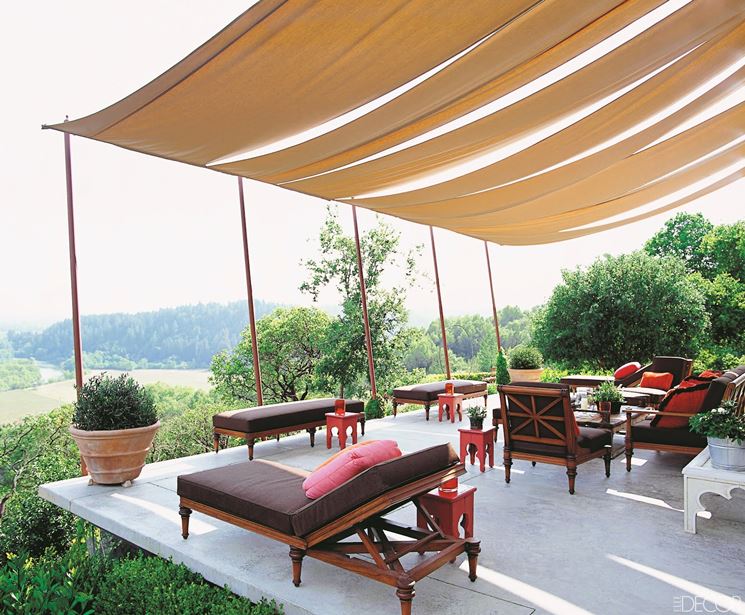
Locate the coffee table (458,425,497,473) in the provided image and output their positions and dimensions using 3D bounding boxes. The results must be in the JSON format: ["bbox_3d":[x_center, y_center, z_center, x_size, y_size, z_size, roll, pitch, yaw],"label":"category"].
[{"bbox_3d":[1.211,1.664,6.007,0.426,0.392,0.442,2,-11,-6],"label":"coffee table"}]

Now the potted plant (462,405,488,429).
[{"bbox_3d":[1.187,1.286,5.960,0.234,0.239,0.241,-1,-1,-2],"label":"potted plant"}]

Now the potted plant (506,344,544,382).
[{"bbox_3d":[3.706,1.387,12.492,1.077,1.072,1.040,-1,-4,-1],"label":"potted plant"}]

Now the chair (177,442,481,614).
[{"bbox_3d":[-0.441,1.356,3.886,2.253,0.948,0.940,4,0,38],"label":"chair"}]

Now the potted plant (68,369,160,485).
[{"bbox_3d":[-2.640,1.324,5.760,1.124,1.310,1.098,0,-5,-12],"label":"potted plant"}]
